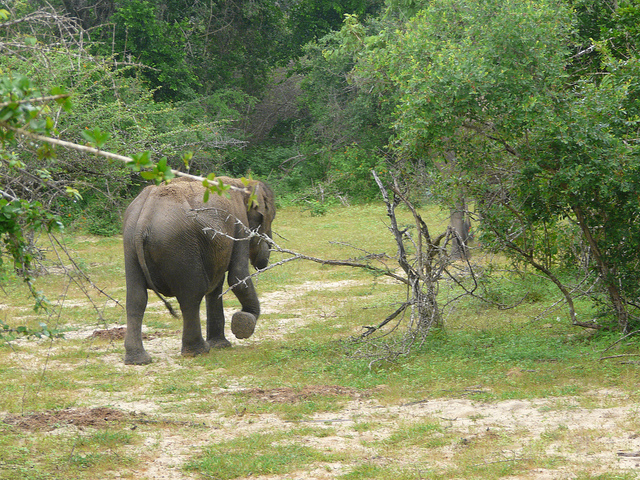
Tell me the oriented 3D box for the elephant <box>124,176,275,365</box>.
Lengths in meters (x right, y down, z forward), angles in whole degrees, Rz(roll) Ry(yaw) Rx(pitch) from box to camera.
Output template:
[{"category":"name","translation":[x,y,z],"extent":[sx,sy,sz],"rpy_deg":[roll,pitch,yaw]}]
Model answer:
[{"category":"elephant","translation":[-1.827,0.403,15.157],"extent":[1.530,2.691,2.771],"rpy_deg":[5,14,24]}]
